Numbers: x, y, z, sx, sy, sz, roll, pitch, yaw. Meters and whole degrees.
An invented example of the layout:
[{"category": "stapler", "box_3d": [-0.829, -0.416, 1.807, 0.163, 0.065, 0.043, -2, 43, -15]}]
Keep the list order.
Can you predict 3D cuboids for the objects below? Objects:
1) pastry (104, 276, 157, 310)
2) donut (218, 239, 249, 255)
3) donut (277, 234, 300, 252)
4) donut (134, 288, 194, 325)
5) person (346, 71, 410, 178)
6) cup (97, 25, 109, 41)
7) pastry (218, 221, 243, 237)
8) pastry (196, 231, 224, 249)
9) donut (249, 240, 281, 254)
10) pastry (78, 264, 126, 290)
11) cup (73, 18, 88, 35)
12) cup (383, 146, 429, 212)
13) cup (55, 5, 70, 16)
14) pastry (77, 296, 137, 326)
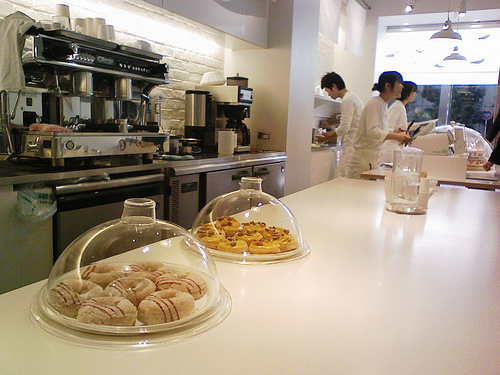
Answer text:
[{"category": "pastry", "box_3d": [-0.230, 0.198, 0.679, 0.078, 0.029, 0.081, 5, 16, 30]}, {"category": "donut", "box_3d": [-0.047, 0.167, 1.000, 0.088, 0.027, 0.047, 5, 11, 13]}, {"category": "donut", "box_3d": [0.115, 0.166, 1.045, 0.064, 0.035, 0.074, 5, 11, 13]}, {"category": "donut", "box_3d": [-0.161, 0.220, 0.668, 0.109, 0.048, 0.063, -1, 12, -19]}, {"category": "person", "box_3d": [1.335, -0.631, 3.660, 0.510, 1.156, 0.741, 5, 11, 15]}, {"category": "cup", "box_3d": [-0.969, -1.017, 2.314, 0.070, 0.096, 0.048, 0, 11, -12]}, {"category": "pastry", "box_3d": [-0.058, 0.126, 1.048, 0.072, 0.035, 0.060, 2, 11, -5]}, {"category": "pastry", "box_3d": [-0.121, 0.153, 1.030, 0.083, 0.035, 0.054, 5, 11, 9]}, {"category": "donut", "box_3d": [0.043, 0.170, 1.006, 0.091, 0.028, 0.056, -4, 13, -30]}, {"category": "pastry", "box_3d": [-0.295, 0.168, 0.693, 0.050, 0.020, 0.052, 3, -3, 3]}, {"category": "cup", "box_3d": [-1.097, -1.041, 2.271, 0.078, 0.105, 0.094, -3, 12, -26]}, {"category": "cup", "box_3d": [0.719, -0.044, 1.760, 0.271, 0.341, 0.280, -1, 3, 0]}, {"category": "cup", "box_3d": [-1.174, -1.099, 2.191, 0.071, 0.071, 0.072, 3, 21, -1]}, {"category": "pastry", "box_3d": [-0.261, 0.216, 0.682, 0.099, 0.042, 0.136, -1, 7, -26]}]
